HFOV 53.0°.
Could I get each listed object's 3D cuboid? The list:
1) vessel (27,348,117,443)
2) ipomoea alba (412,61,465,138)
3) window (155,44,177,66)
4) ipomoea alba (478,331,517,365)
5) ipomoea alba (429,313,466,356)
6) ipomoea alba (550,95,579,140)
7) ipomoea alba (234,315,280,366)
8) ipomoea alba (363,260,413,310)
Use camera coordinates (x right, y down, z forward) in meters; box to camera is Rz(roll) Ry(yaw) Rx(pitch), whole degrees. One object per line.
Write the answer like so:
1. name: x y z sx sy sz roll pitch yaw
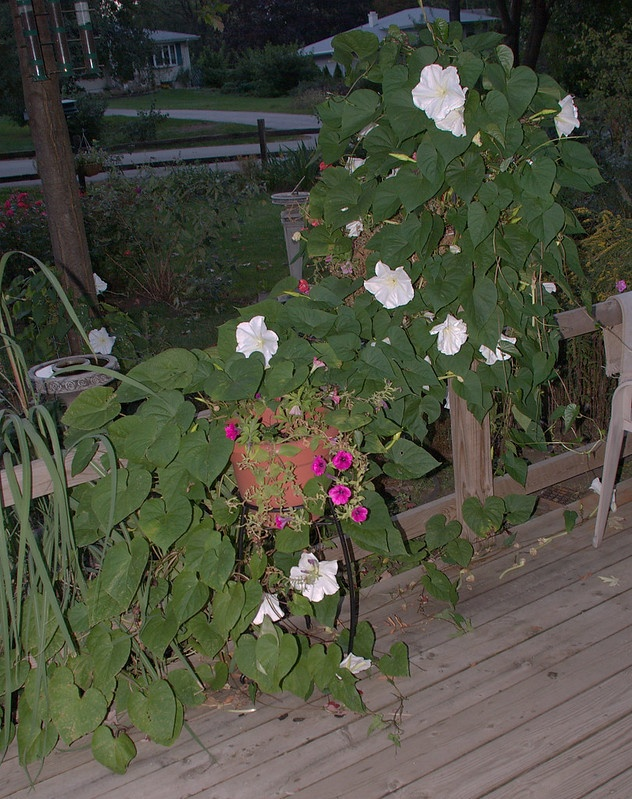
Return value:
1. vessel: -1.076 0.019 2.918 0.333 0.310 0.318 2 18 27
2. ipomoea alba: 0.274 -0.658 1.396 0.118 0.145 0.060 6 37 13
3. window: -9.782 -22.535 41.648 1.470 1.266 6.439 -8 33 -7
4. ipomoea alba: 0.493 -0.138 1.746 0.089 0.091 0.035 -34 34 23
5. ipomoea alba: 0.349 -0.167 1.657 0.097 0.116 0.039 1 36 7
6. ipomoea alba: 0.619 -0.689 1.564 0.102 0.099 0.039 -21 25 -35
7. ipomoea alba: -0.136 -0.133 1.430 0.105 0.110 0.075 14 39 24
8. ipomoea alba: 0.187 -0.294 1.618 0.119 0.120 0.056 0 36 6
